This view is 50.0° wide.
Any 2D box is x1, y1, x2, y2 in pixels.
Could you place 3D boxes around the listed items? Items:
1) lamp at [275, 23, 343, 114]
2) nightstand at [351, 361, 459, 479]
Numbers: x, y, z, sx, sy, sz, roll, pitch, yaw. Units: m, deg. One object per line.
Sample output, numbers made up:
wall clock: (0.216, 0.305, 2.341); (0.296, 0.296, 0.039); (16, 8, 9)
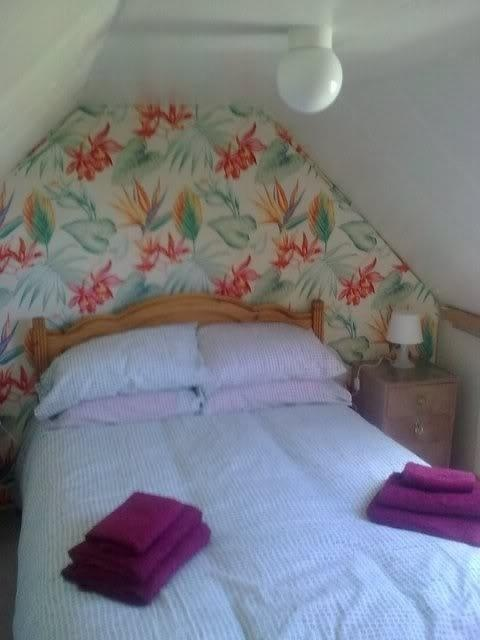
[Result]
lamp: (0.164, -0.647, 1.375); (0.169, 0.252, 0.187); (-5, 18, -14)
nightstand: (0.832, 0.401, 2.786); (0.468, 0.866, 0.501); (-4, 10, -13)
